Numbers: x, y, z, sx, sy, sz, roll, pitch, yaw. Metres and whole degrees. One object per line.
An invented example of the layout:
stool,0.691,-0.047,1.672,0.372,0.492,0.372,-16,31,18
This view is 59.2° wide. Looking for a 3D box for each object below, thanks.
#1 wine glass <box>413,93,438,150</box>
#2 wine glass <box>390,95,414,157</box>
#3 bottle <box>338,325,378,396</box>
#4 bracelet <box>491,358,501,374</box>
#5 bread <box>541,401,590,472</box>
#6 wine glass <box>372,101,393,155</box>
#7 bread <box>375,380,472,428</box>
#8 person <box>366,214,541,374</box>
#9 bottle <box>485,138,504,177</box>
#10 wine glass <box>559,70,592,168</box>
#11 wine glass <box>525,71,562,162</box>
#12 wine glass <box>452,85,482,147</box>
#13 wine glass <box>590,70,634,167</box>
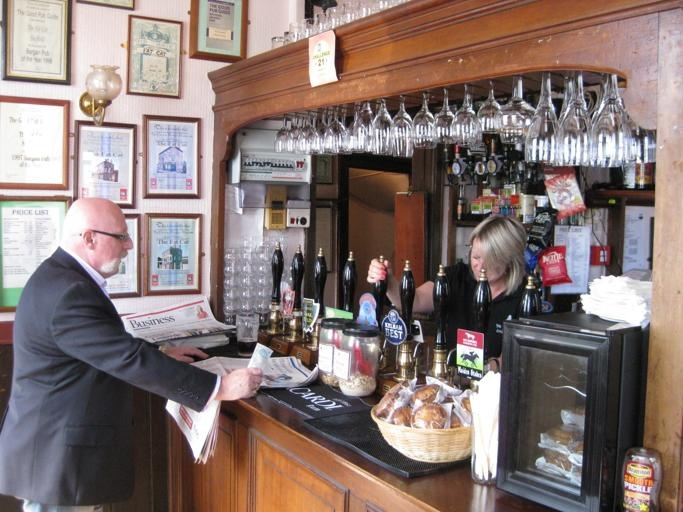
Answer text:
wine glass,0.393,-0.636,2.814,0.106,0.247,0.343,0,5,8
wine glass,0.294,-0.616,2.863,0.099,0.281,0.228,0,5,7
bottle,0.072,0.456,2.598,0.175,0.306,0.096,-1,5,-3
bracelet,0.607,0.423,2.359,0.041,0.064,0.061,-2,-5,1
bread,0.666,0.544,1.782,0.057,0.166,0.152,7,-7,-41
wine glass,0.200,-0.644,2.951,0.097,0.275,0.275,-1,5,3
bread,0.289,0.510,2.062,0.187,0.072,0.209,0,0,-9
person,0.519,0.162,3.109,0.837,0.970,0.617,2,-1,-33
bottle,1.369,-0.882,5.342,0.149,0.317,0.194,0,5,10
wine glass,0.889,-0.524,2.283,0.108,0.349,0.155,1,5,22
wine glass,0.783,-0.530,2.336,0.130,0.354,0.203,0,5,15
wine glass,0.550,-0.612,2.646,0.128,0.239,0.285,0,5,11
wine glass,0.988,-0.493,2.189,0.150,0.320,0.123,1,5,21
